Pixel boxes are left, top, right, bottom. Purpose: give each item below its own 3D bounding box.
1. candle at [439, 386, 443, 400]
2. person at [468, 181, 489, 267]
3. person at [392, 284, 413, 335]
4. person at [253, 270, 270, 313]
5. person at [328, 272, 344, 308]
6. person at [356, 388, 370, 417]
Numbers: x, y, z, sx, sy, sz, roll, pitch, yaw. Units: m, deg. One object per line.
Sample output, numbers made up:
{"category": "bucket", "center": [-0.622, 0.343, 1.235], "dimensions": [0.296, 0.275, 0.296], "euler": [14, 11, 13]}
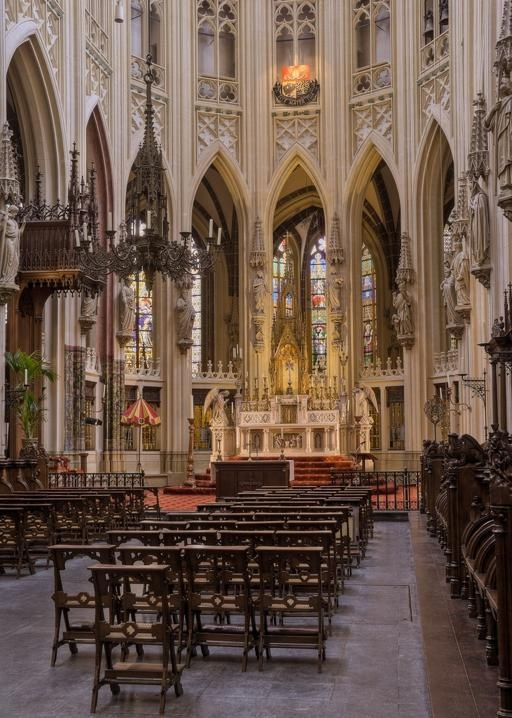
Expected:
{"category": "candle", "center": [4.649, 0.821, 29.645], "dimensions": [0.090, 0.286, 0.476], "euler": [-2, -5, 9]}
{"category": "person", "center": [3.934, -2.420, 20.711], "dimensions": [0.311, 1.754, 1.054], "euler": [-2, -4, 9]}
{"category": "person", "center": [3.740, -1.219, 30.602], "dimensions": [0.431, 1.431, 1.279], "euler": [-1, -4, -7]}
{"category": "person", "center": [0.166, -1.841, 32.241], "dimensions": [0.476, 1.263, 0.230], "euler": [1, -4, -27]}
{"category": "person", "center": [2.177, -1.891, 31.938], "dimensions": [0.423, 1.079, 0.242], "euler": [-2, -4, 10]}
{"category": "person", "center": [2.713, 1.092, 30.159], "dimensions": [0.290, 0.767, 1.206], "euler": [-2, -5, 5]}
